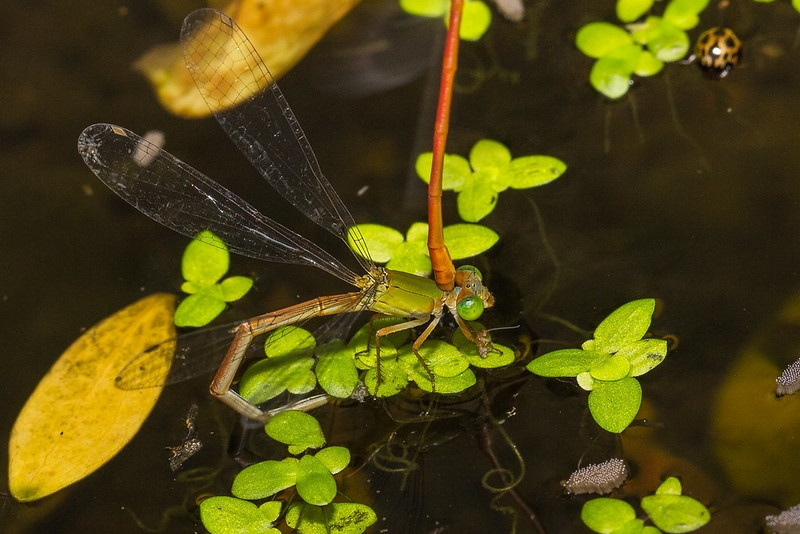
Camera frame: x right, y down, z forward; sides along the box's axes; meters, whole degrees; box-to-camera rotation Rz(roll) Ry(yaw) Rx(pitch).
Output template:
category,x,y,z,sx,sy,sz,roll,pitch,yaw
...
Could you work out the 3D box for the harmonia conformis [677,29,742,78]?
category,x,y,z,sx,sy,sz,roll,pitch,yaw
harmonia conformis,1.298,-0.899,3.397,0.213,0.096,0.194,27,74,13
